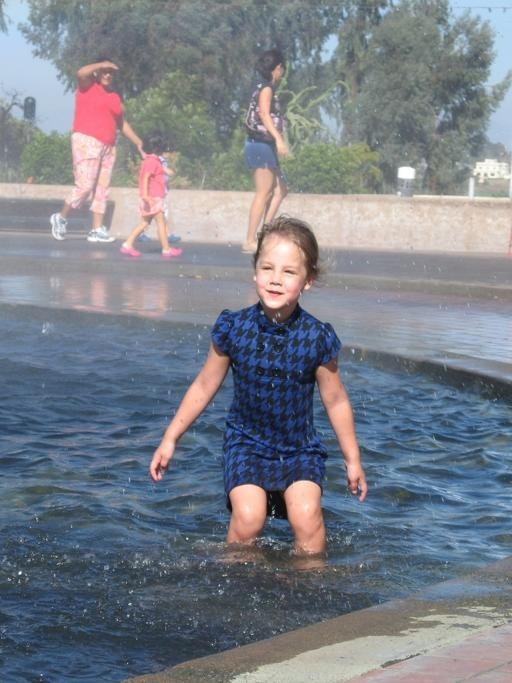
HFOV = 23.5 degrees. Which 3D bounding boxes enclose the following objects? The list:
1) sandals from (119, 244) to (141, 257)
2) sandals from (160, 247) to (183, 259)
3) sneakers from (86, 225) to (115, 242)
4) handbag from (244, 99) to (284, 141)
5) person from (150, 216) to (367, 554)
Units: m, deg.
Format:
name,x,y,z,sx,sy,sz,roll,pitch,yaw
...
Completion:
name,x,y,z,sx,sy,sz,roll,pitch,yaw
sandals,-1.176,-0.845,11.607,0.216,0.097,0.115,20,13,20
sandals,-0.800,-0.840,11.692,0.201,0.093,0.098,-5,11,6
sneakers,-1.733,-1.168,13.579,0.380,0.188,0.139,5,6,40
handbag,0.075,-1.954,10.842,0.325,0.390,0.336,1,5,-1
person,0.018,0.113,3.443,0.584,0.910,0.300,1,5,5
